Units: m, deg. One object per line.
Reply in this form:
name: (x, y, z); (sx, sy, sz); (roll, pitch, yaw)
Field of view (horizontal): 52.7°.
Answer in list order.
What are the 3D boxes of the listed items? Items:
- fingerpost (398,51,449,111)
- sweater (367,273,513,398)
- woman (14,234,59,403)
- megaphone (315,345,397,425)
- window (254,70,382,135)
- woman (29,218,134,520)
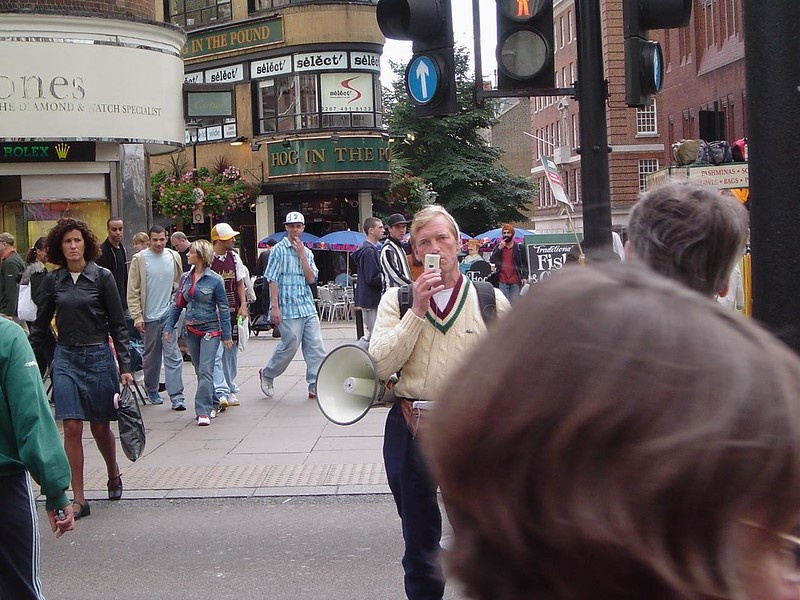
fingerpost: (0.175, -1.644, 6.073); (0.370, 0.406, 0.092); (2, 6, 43)
sweater: (0.202, 0.200, 3.791); (0.753, 0.775, 0.469); (-1, -2, 6)
woman: (-4.109, 0.050, 9.313); (0.483, 1.466, 0.430); (6, 7, -37)
megaphone: (-0.129, 0.410, 3.759); (0.322, 0.364, 0.464); (-6, -13, 36)
window: (-3.116, -7.272, 29.572); (5.028, 2.113, 1.642); (1, 7, 18)
woman: (-2.485, 0.502, 6.306); (0.612, 2.296, 1.277); (-3, -2, 20)
